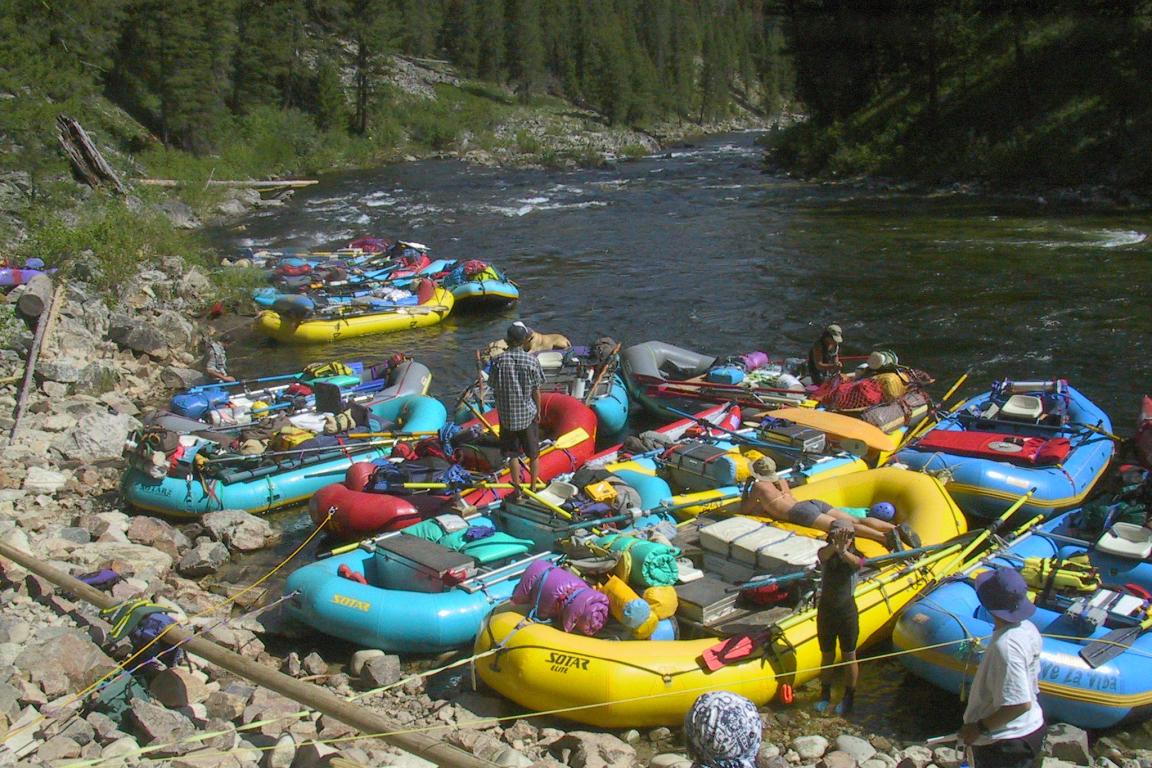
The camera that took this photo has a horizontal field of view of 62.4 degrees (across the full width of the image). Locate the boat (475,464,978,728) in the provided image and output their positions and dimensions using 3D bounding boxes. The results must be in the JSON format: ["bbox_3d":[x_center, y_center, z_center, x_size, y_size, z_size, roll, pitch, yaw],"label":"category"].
[{"bbox_3d":[2.330,2.326,11.861,6.220,0.740,3.019,-22,30,-29],"label":"boat"}]

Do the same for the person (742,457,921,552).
[{"bbox_3d":[3.144,1.494,11.929,2.229,0.545,0.873,19,23,1],"label":"person"}]

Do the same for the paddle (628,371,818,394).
[{"bbox_3d":[2.558,-0.009,16.529,3.549,0.330,0.736,4,18,16],"label":"paddle"}]

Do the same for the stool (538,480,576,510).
[{"bbox_3d":[-0.243,1.414,12.220,0.455,0.123,0.390,18,18,31],"label":"stool"}]

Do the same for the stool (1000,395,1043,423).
[{"bbox_3d":[6.819,0.322,14.482,0.596,0.152,0.477,5,31,31],"label":"stool"}]

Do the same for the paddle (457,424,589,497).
[{"bbox_3d":[-0.554,1.121,14.047,2.190,0.375,1.123,33,1,-26],"label":"paddle"}]

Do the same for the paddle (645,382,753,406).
[{"bbox_3d":[2.122,0.145,16.556,1.951,0.185,0.389,5,47,31],"label":"paddle"}]

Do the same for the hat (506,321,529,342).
[{"bbox_3d":[-0.792,-0.706,12.915,0.259,0.230,0.270,3,19,6],"label":"hat"}]

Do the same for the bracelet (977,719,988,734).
[{"bbox_3d":[3.606,3.024,8.410,0.158,0.090,0.037,0,3,-10],"label":"bracelet"}]

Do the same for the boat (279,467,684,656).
[{"bbox_3d":[-1.014,2.170,12.039,4.306,0.576,2.230,-8,15,-32],"label":"boat"}]
